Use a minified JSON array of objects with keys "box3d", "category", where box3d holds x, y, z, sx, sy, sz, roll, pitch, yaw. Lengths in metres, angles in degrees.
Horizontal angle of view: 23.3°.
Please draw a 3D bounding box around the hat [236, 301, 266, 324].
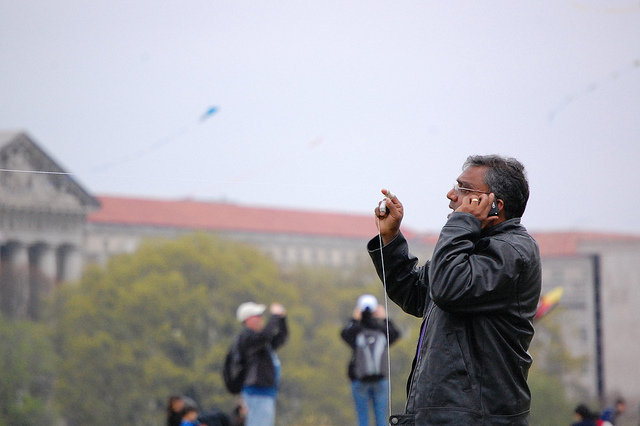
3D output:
[{"box3d":[-1.133,1.616,25.281,0.383,0.298,0.232,-21,-51,19],"category":"hat"}]
